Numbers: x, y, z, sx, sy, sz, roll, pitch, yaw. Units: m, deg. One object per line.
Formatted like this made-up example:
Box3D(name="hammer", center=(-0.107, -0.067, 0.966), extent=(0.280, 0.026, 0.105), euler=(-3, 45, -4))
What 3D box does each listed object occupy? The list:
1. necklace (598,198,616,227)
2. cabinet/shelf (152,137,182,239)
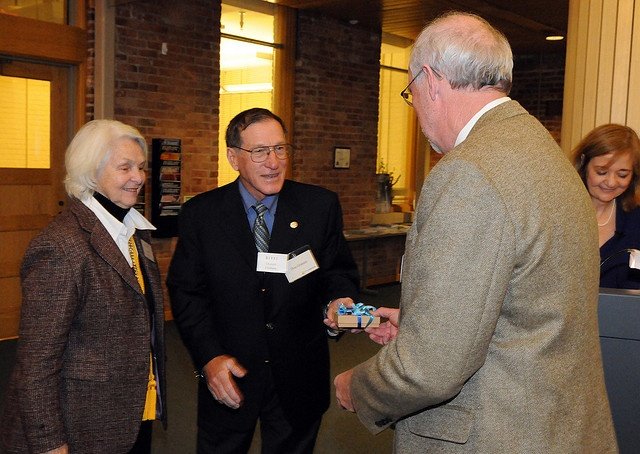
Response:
Box3D(name="necklace", center=(1.737, -0.083, 3.121), extent=(0.021, 0.157, 0.120), euler=(26, 13, 20))
Box3D(name="cabinet/shelf", center=(-1.705, -0.493, 5.750), extent=(0.319, 0.992, 0.090), euler=(1, 3, -6))
